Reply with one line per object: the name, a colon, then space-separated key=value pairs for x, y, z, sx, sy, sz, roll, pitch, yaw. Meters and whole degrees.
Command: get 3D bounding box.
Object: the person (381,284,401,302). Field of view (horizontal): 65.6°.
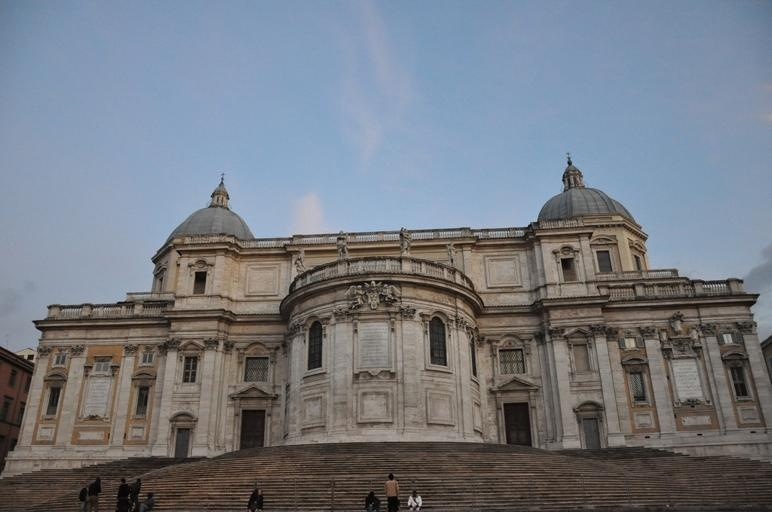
person: x=0.299 y=3.111 z=50.216 sx=1.578 sy=1.450 sz=0.843 roll=-1 pitch=10 yaw=-7
